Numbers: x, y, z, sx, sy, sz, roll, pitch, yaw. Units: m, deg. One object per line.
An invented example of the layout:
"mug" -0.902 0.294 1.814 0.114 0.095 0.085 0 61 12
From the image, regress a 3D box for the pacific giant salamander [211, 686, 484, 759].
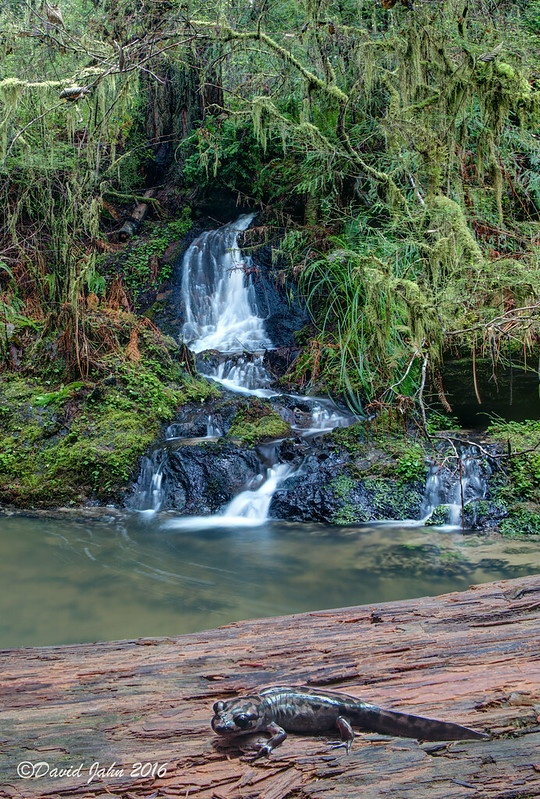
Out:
"pacific giant salamander" 0.183 1.159 2.958 0.630 0.112 0.352 1 -6 -9
